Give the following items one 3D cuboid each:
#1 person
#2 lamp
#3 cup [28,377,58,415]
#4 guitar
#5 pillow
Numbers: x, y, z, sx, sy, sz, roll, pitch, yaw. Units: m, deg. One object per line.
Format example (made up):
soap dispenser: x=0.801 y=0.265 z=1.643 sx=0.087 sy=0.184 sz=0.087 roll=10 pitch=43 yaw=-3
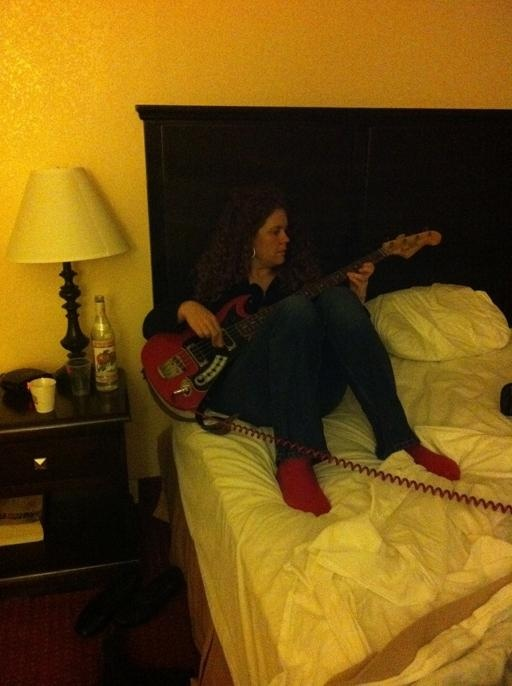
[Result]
person: x=0.145 y=-0.057 z=1.725 sx=0.633 sy=0.681 sz=1.030 roll=3 pitch=7 yaw=-30
lamp: x=-0.543 y=-0.198 z=1.845 sx=0.324 sy=0.635 sz=0.332 roll=-4 pitch=8 yaw=-11
cup: x=-0.582 y=0.148 z=1.742 sx=0.100 sy=0.091 sz=0.095 roll=-4 pitch=3 yaw=0
guitar: x=0.103 y=0.011 z=1.924 sx=1.161 sy=0.128 sz=0.396 roll=-29 pitch=52 yaw=-6
pillow: x=0.585 y=-0.060 z=1.941 sx=0.322 sy=0.068 sz=0.276 roll=-8 pitch=32 yaw=-7
